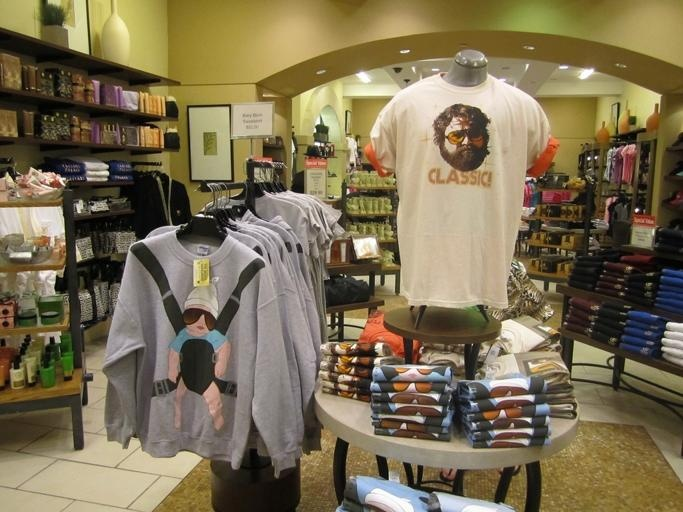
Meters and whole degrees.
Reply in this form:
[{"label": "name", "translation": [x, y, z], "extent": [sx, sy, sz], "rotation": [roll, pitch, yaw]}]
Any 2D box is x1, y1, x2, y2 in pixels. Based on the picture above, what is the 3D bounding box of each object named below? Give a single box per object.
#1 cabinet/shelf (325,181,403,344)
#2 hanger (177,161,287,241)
[{"label": "cabinet/shelf", "translation": [0.401, -0.183, 6.869], "extent": [0.873, 1.827, 4.968], "rotation": [1, 11, 6]}, {"label": "hanger", "translation": [-0.642, -0.343, 2.775], "extent": [0.301, 0.395, 1.007], "rotation": [5, 12, 12]}]
